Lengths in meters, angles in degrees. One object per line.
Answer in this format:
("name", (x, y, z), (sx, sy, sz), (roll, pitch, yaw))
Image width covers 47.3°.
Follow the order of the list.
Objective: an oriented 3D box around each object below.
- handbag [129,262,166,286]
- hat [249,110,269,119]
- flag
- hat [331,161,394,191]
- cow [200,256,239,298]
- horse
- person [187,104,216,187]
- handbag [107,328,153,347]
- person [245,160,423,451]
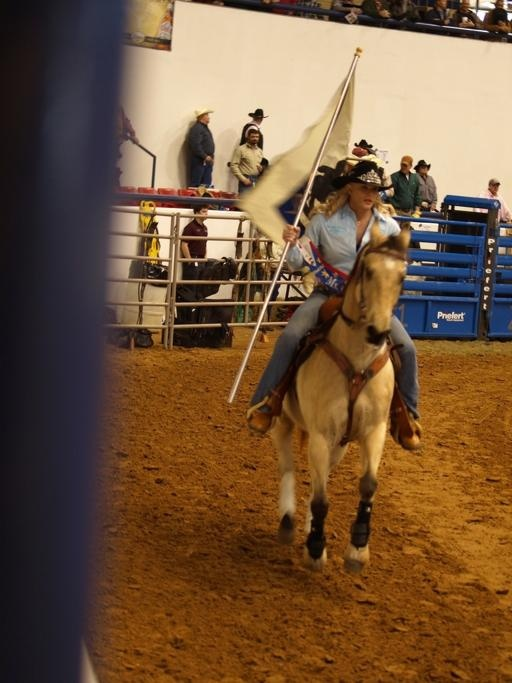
("handbag", (-1.868, -1.176, 10.179), (0.600, 0.392, 0.289), (6, -5, -4))
("hat", (0.047, -6.163, 15.852), (0.463, 0.181, 0.514), (4, 9, 1))
("flag", (0.548, -1.690, 5.017), (0.848, 1.856, 0.152), (19, -9, -11))
("hat", (0.749, -1.135, 4.108), (0.270, 0.118, 0.297), (-1, -4, -12))
("cow", (-0.693, -1.142, 10.618), (0.682, 0.784, 0.542), (6, 8, -9))
("horse", (0.547, 0.576, 4.278), (0.854, 2.079, 2.797), (8, -15, -3))
("person", (-1.407, -4.899, 15.006), (0.739, 1.920, 0.743), (6, 8, -11))
("handbag", (-1.774, -0.058, 8.290), (0.443, 0.165, 0.321), (0, -6, 18))
("person", (0.594, -0.321, 4.227), (1.240, 1.939, 1.050), (4, -1, 2))
